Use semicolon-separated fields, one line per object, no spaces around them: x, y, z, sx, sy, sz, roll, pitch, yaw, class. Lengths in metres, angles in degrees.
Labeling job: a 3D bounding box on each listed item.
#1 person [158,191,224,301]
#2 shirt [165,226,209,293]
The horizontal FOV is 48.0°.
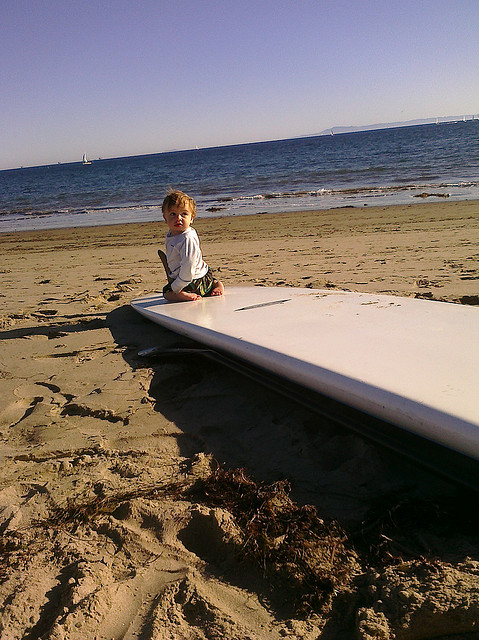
-0.343;-0.483;3.534;0.417;0.703;0.367;-9;16;-6;person
-0.362;-0.397;3.606;0.332;0.371;0.471;-6;10;-18;shirt
